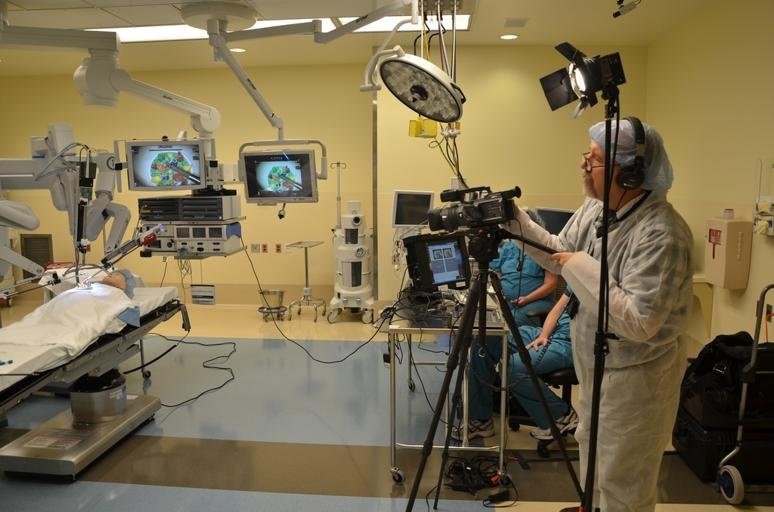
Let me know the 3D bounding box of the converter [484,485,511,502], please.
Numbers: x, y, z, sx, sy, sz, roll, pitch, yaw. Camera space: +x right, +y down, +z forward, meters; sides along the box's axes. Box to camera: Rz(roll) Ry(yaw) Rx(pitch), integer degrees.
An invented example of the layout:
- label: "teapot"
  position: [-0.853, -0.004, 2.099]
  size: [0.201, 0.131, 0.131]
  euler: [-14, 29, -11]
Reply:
- label: "converter"
  position: [0.789, 1.682, 4.457]
  size: [0.132, 0.062, 0.098]
  euler: [-5, -3, 5]

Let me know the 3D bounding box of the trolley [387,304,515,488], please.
- label: "trolley"
  position: [0.371, 0.989, 4.947]
  size: [1.116, 1.377, 1.502]
  euler: [0, 3, 4]

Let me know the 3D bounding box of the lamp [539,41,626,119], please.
- label: "lamp"
  position: [1.113, -1.027, 3.544]
  size: [0.390, 0.389, 0.499]
  euler: [1, 18, 15]

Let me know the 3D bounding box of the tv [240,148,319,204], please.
- label: "tv"
  position: [-1.017, -0.738, 5.925]
  size: [0.606, 0.442, 0.081]
  euler: [-1, 7, -6]

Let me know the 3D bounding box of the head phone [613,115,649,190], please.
- label: "head phone"
  position: [1.358, -0.565, 3.521]
  size: [0.139, 0.414, 0.337]
  euler: [-4, 11, 3]

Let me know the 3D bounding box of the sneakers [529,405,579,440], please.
- label: "sneakers"
  position: [1.384, 1.315, 4.964]
  size: [0.486, 0.223, 0.176]
  euler: [-5, 1, 2]

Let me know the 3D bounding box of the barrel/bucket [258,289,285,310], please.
- label: "barrel/bucket"
  position: [-1.411, 0.541, 7.846]
  size: [0.257, 0.162, 0.263]
  euler: [-2, 5, 0]

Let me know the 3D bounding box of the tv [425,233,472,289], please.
- label: "tv"
  position: [0.443, 0.032, 4.659]
  size: [0.336, 0.435, 0.248]
  euler: [-7, -8, -14]

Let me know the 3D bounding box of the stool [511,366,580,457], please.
- label: "stool"
  position: [1.191, 1.182, 5.102]
  size: [0.634, 0.763, 0.672]
  euler: [0, -1, 0]

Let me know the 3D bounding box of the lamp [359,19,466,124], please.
- label: "lamp"
  position: [0.104, -1.052, 3.890]
  size: [0.699, 0.444, 0.409]
  euler: [13, 20, 43]

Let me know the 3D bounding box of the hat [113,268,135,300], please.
- label: "hat"
  position: [-2.212, 0.215, 5.288]
  size: [0.081, 0.174, 0.232]
  euler: [-41, -24, 19]

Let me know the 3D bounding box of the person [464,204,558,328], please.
- label: "person"
  position: [0.878, 0.120, 4.490]
  size: [0.597, 1.024, 0.557]
  euler: [25, -38, -33]

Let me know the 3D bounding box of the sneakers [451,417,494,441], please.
- label: "sneakers"
  position: [0.695, 1.370, 5.010]
  size: [0.395, 0.192, 0.151]
  euler: [1, -2, -6]
